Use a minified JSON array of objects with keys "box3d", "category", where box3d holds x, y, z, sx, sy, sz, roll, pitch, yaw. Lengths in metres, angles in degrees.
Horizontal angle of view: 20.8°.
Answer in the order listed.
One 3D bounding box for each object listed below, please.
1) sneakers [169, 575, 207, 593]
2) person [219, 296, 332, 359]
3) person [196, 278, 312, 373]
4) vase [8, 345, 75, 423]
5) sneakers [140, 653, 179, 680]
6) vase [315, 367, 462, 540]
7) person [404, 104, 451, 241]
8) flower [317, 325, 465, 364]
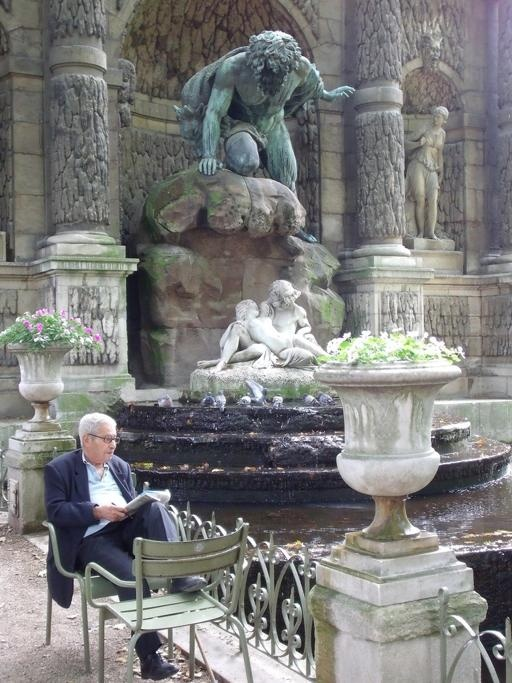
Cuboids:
[{"box3d":[-0.412,1.484,8.407,0.170,0.124,0.103,-8,5,-2],"category":"sneakers"},{"box3d":[0.217,-0.174,14.441,1.217,0.922,0.789,1,1,-1],"category":"person"},{"box3d":[0.129,-0.166,14.393,0.998,0.942,0.805,-1,-2,0],"category":"person"},{"box3d":[-1.806,0.366,11.724,0.516,0.665,0.522,0,-1,-44],"category":"vase"},{"box3d":[-0.581,1.959,8.294,0.225,0.110,0.119,-5,-6,25],"category":"sneakers"},{"box3d":[0.790,0.655,8.173,0.856,1.017,0.857,-1,-1,-25],"category":"vase"},{"box3d":[2.321,-2.260,19.122,0.571,1.681,0.546,-1,-1,-17],"category":"person"},{"box3d":[0.768,0.035,8.196,0.799,0.224,0.537,-1,-2,0],"category":"flower"}]
